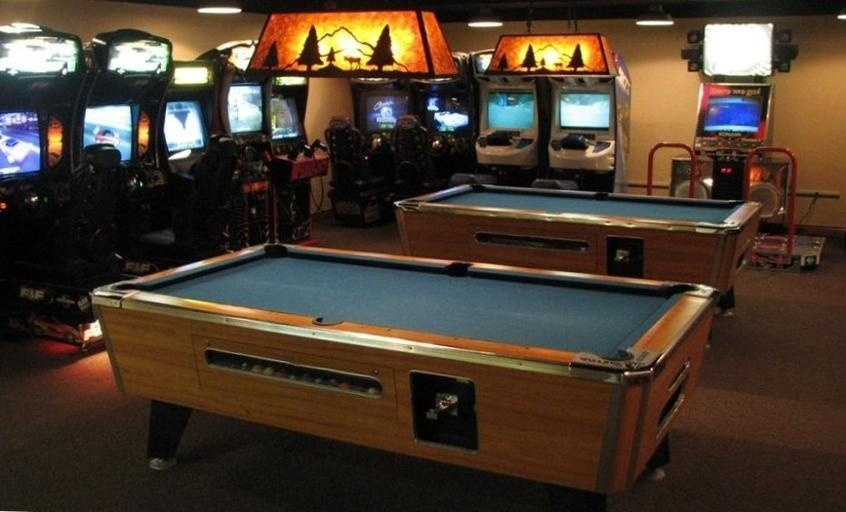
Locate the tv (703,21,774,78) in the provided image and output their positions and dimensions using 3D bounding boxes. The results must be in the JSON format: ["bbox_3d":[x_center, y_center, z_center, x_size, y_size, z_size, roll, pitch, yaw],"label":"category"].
[{"bbox_3d":[3.852,-2.516,7.897,0.816,0.616,0.108,7,17,21],"label":"tv"}]

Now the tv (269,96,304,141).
[{"bbox_3d":[-1.729,-1.729,8.117,0.211,0.521,0.522,10,17,27],"label":"tv"}]

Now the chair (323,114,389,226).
[{"bbox_3d":[-0.907,-1.180,9.086,0.844,1.511,0.548,-2,16,-13],"label":"chair"}]

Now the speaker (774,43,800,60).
[{"bbox_3d":[4.436,-2.518,7.911,0.388,0.214,0.194,2,15,12],"label":"speaker"}]

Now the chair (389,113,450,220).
[{"bbox_3d":[-0.005,-1.305,9.152,0.787,1.304,0.766,6,18,20],"label":"chair"}]

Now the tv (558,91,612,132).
[{"bbox_3d":[2.123,-1.907,8.479,0.709,0.491,0.093,11,18,33],"label":"tv"}]

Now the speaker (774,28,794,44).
[{"bbox_3d":[4.347,-2.664,7.811,0.192,0.172,0.230,9,17,29],"label":"speaker"}]

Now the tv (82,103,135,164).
[{"bbox_3d":[-3.001,-1.179,6.248,0.310,0.511,0.510,9,20,22],"label":"tv"}]

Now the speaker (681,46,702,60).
[{"bbox_3d":[3.383,-2.573,8.133,0.273,0.155,0.168,-1,4,15],"label":"speaker"}]

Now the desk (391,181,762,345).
[{"bbox_3d":[1.485,0.444,5.668,2.487,0.564,1.287,6,14,28],"label":"desk"}]

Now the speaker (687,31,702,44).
[{"bbox_3d":[3.423,-2.774,8.144,0.148,0.168,0.193,2,15,2],"label":"speaker"}]

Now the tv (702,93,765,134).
[{"bbox_3d":[3.868,-1.757,8.068,0.658,0.466,0.174,6,16,18],"label":"tv"}]
